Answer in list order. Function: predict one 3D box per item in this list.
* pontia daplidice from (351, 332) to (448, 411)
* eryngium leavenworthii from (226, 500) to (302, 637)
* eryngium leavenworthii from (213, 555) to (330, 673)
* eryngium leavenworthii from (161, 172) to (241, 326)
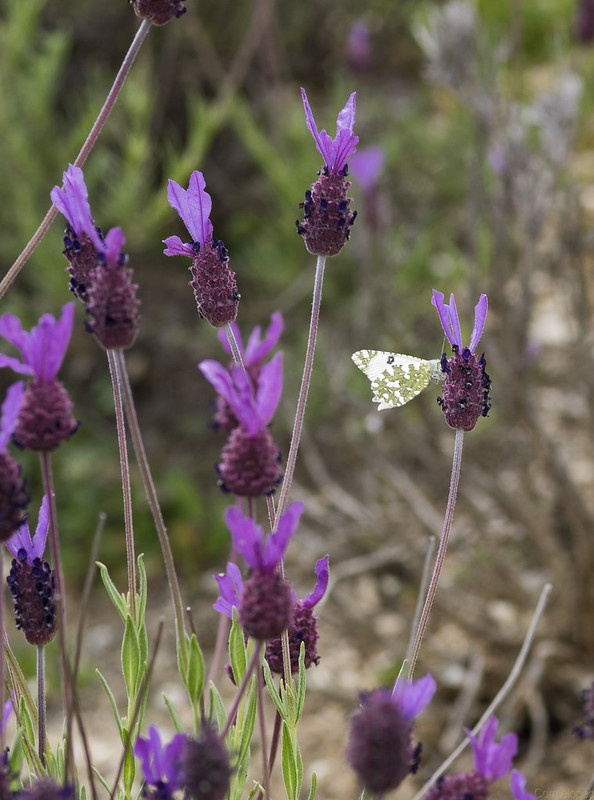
[{"bbox_3d":[0.115,-0.029,1.142,0.108,0.049,0.078,-14,0,-14],"label":"pontia daplidice"},{"bbox_3d":[-0.025,0.142,0.853,0.065,0.115,0.079,-6,0,-11],"label":"eryngium leavenworthii"},{"bbox_3d":[-0.002,0.215,1.047,0.073,0.072,0.087,-2,-15,-40],"label":"eryngium leavenworthii"},{"bbox_3d":[-0.100,-0.161,1.053,0.070,0.164,0.203,-6,0,-5],"label":"eryngium leavenworthii"}]
